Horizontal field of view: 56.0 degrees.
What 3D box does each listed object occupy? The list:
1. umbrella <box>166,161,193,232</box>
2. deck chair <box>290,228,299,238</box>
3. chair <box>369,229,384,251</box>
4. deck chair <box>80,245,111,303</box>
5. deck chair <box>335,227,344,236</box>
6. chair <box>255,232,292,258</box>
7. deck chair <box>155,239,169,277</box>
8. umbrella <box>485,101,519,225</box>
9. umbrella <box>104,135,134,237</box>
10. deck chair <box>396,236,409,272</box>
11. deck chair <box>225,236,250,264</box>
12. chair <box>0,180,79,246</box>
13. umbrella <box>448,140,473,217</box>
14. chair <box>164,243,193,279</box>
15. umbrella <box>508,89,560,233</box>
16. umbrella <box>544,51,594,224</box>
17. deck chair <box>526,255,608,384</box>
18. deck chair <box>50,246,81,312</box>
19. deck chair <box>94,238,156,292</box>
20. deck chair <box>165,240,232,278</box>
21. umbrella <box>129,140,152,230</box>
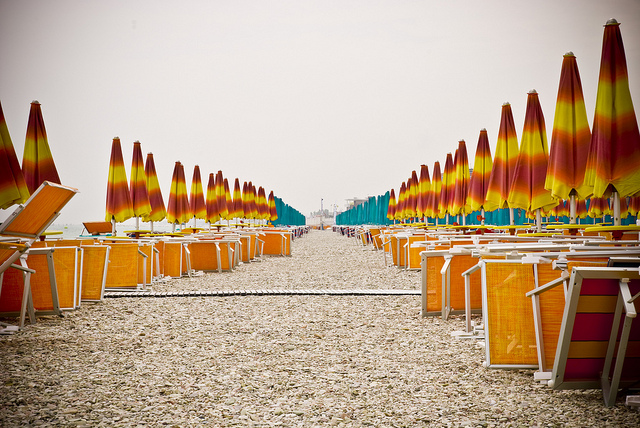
[{"bbox_3d":[-4.477,-0.462,18.980,0.711,2.281,1.453,-2,11,-12],"label":"umbrella"},{"bbox_3d":[-1.606,1.249,41.503,0.447,0.865,0.885,-1,1,6],"label":"deck chair"},{"bbox_3d":[2.381,0.962,23.041,0.704,0.880,0.636,-1,-4,-2],"label":"chair"},{"bbox_3d":[-4.063,1.072,10.890,0.459,1.027,0.333,1,11,8],"label":"deck chair"},{"bbox_3d":[1.993,1.728,59.077,0.692,0.883,2.169,-1,-5,-1],"label":"deck chair"},{"bbox_3d":[-1.561,1.063,21.201,1.364,0.921,0.785,3,9,3],"label":"chair"},{"bbox_3d":[-3.686,1.015,13.892,0.226,0.916,0.358,7,13,35],"label":"deck chair"},{"bbox_3d":[4.247,-1.301,13.832,0.819,2.466,0.621,0,2,0],"label":"umbrella"},{"bbox_3d":[-4.931,-0.627,14.690,0.682,2.450,0.800,-4,11,-19],"label":"umbrella"},{"bbox_3d":[2.154,1.009,15.629,0.288,0.922,0.914,1,11,8],"label":"deck chair"},{"bbox_3d":[-2.603,1.092,18.045,0.786,0.793,0.597,-6,-8,30],"label":"deck chair"},{"bbox_3d":[-4.205,-0.040,9.091,0.887,0.986,0.871,2,11,9],"label":"chair"},{"bbox_3d":[4.161,-0.969,17.702,0.550,2.143,1.177,2,11,11],"label":"umbrella"},{"bbox_3d":[-3.381,1.077,14.370,0.700,0.793,0.867,-2,0,-3],"label":"chair"},{"bbox_3d":[4.559,-1.067,12.590,1.219,3.001,1.028,-5,7,-22],"label":"umbrella"},{"bbox_3d":[4.713,-1.633,11.375,0.768,2.536,0.614,1,-3,-1],"label":"umbrella"},{"bbox_3d":[2.839,1.269,7.324,1.105,1.517,0.577,-1,0,-41],"label":"deck chair"},{"bbox_3d":[-4.217,1.087,10.010,0.356,1.046,0.409,-6,-13,31],"label":"deck chair"},{"bbox_3d":[-3.739,1.114,12.507,1.302,1.044,1.405,-1,-2,16],"label":"deck chair"},{"bbox_3d":[-2.845,1.108,15.181,1.599,0.869,1.133,0,28,-4],"label":"deck chair"},{"bbox_3d":[-4.741,-0.759,15.813,0.685,2.608,0.668,1,-4,-2],"label":"umbrella"}]
